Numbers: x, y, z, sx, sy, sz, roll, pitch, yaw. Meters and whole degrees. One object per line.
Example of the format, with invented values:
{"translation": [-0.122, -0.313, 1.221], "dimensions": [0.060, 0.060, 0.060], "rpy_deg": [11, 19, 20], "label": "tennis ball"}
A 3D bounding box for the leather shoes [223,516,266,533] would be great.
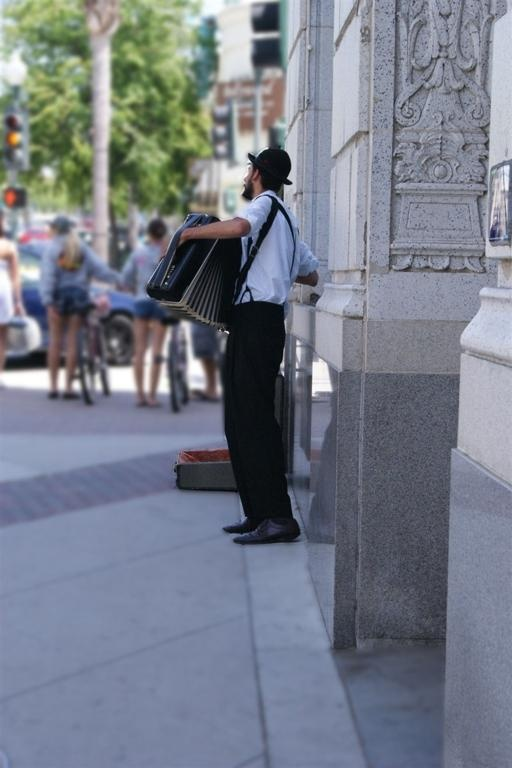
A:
{"translation": [-0.077, 0.710, 4.911], "dimensions": [0.237, 0.107, 0.083], "rpy_deg": [-2, -4, 21], "label": "leather shoes"}

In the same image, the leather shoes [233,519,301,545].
{"translation": [0.076, 0.701, 4.645], "dimensions": [0.359, 0.162, 0.134], "rpy_deg": [-2, -6, 12], "label": "leather shoes"}

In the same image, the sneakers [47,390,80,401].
{"translation": [-1.190, 0.057, 5.893], "dimensions": [0.138, 0.056, 0.049], "rpy_deg": [0, 2, 8], "label": "sneakers"}

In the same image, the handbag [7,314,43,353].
{"translation": [-1.265, -0.264, 5.192], "dimensions": [0.155, 0.218, 0.266], "rpy_deg": [-6, 0, 4], "label": "handbag"}

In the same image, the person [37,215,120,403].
{"translation": [-1.132, -0.453, 5.736], "dimensions": [0.272, 1.106, 0.499], "rpy_deg": [1, 5, 14], "label": "person"}

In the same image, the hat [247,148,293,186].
{"translation": [0.058, -1.058, 4.549], "dimensions": [0.216, 0.182, 0.211], "rpy_deg": [-1, 5, -8], "label": "hat"}

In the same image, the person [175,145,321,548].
{"translation": [-0.039, -0.205, 4.621], "dimensions": [0.557, 1.893, 0.998], "rpy_deg": [0, -6, 17], "label": "person"}
